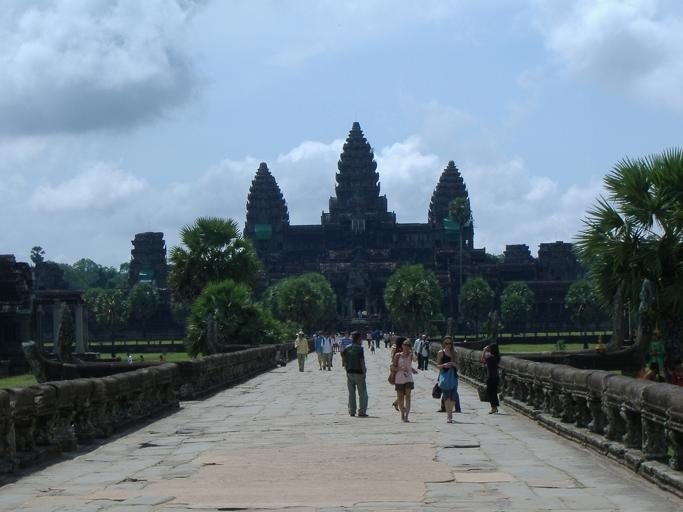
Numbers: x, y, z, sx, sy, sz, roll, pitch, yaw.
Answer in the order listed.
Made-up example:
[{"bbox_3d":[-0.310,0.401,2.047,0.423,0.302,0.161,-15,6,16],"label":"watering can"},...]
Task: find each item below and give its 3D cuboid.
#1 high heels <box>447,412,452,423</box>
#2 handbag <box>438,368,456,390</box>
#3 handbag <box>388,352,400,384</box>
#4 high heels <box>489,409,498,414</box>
[{"bbox_3d":[2.422,3.621,22.658,0.122,0.171,0.404,1,-12,5],"label":"high heels"},{"bbox_3d":[2.465,2.876,23.513,0.403,0.513,0.283,1,-43,9],"label":"handbag"},{"bbox_3d":[1.245,2.671,23.828,0.418,0.567,0.607,6,-3,2],"label":"handbag"},{"bbox_3d":[3.636,3.737,24.238,0.235,0.104,0.089,0,-1,20],"label":"high heels"}]
